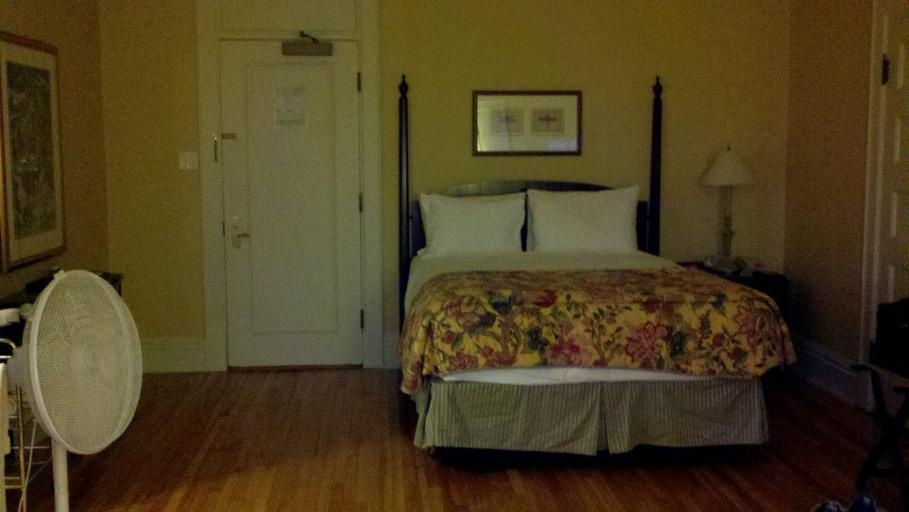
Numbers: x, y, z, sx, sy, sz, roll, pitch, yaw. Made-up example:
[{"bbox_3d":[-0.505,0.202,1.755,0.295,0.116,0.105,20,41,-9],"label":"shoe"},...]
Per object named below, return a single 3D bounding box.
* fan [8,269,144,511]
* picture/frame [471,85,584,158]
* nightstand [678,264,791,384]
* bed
[{"bbox_3d":[-1.982,0.559,4.098,0.247,0.945,0.546,7,12,35],"label":"fan"},{"bbox_3d":[0.675,-1.222,7.046,0.995,0.612,0.031,0,2,-2],"label":"picture/frame"},{"bbox_3d":[2.574,0.546,6.794,0.892,0.813,0.566,0,6,2],"label":"nightstand"},{"bbox_3d":[0.940,0.316,6.532,2.116,1.918,2.601,0,11,0],"label":"bed"}]
